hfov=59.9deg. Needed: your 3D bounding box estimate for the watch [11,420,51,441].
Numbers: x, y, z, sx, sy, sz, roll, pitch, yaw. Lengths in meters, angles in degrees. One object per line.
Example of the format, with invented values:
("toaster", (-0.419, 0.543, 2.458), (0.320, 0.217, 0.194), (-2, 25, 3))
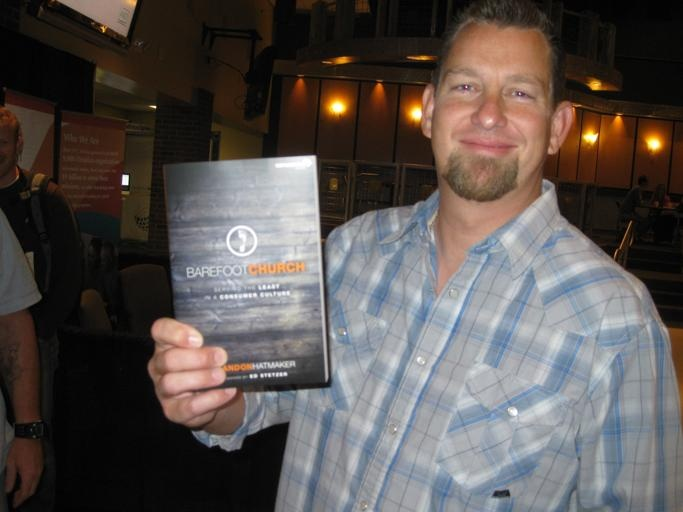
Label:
("watch", (-1.189, 0.658, 2.285), (0.116, 0.064, 0.112), (6, -9, -45))
